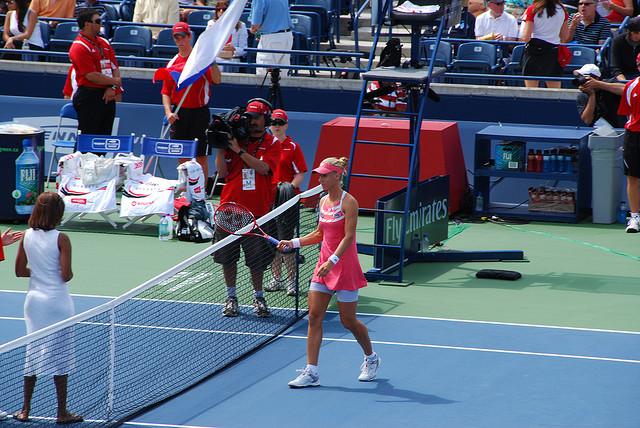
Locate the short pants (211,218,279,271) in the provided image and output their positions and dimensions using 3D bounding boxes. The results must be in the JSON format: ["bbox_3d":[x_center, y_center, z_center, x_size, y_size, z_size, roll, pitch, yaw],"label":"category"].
[{"bbox_3d":[-0.914,0.403,11.315,1.065,0.613,0.054,0,2,-42],"label":"short pants"}]

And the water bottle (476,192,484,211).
[{"bbox_3d":[3.012,-0.243,16.049,0.123,0.349,0.255,5,5,16],"label":"water bottle"}]

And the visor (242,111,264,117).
[{"bbox_3d":[-0.895,-1.341,11.332,0.256,0.066,0.038,3,5,-8],"label":"visor"}]

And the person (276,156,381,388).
[{"bbox_3d":[0.164,0.704,10.009,1.155,2.699,0.606,3,5,-4],"label":"person"}]

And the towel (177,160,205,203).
[{"bbox_3d":[-2.191,-0.568,14.877,0.516,0.741,0.449,-8,9,-28],"label":"towel"}]

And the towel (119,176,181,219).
[{"bbox_3d":[-2.972,-0.277,14.841,1.041,0.711,0.464,5,5,14],"label":"towel"}]

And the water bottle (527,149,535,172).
[{"bbox_3d":[3.894,-0.995,15.723,0.145,0.407,0.151,4,5,0],"label":"water bottle"}]

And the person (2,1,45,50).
[{"bbox_3d":[-6.702,-4.238,19.156,0.935,1.057,0.674,4,5,-2],"label":"person"}]

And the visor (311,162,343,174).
[{"bbox_3d":[0.116,-0.527,9.933,0.248,0.082,0.149,0,-2,-22],"label":"visor"}]

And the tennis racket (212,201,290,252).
[{"bbox_3d":[-0.874,0.194,10.638,1.149,0.453,0.097,34,-10,35],"label":"tennis racket"}]

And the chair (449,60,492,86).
[{"bbox_3d":[3.099,-2.952,17.478,0.669,0.723,0.673,2,2,19],"label":"chair"}]

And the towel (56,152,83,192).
[{"bbox_3d":[-4.527,-0.730,15.352,0.538,0.670,0.428,-2,-3,-10],"label":"towel"}]

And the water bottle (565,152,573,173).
[{"bbox_3d":[4.523,-0.947,15.497,0.113,0.380,0.150,8,7,39],"label":"water bottle"}]

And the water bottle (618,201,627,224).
[{"bbox_3d":[5.526,-0.012,15.595,0.124,0.348,0.168,3,5,-4],"label":"water bottle"}]

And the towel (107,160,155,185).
[{"bbox_3d":[-3.352,-0.750,15.068,0.604,0.221,0.468,3,6,8],"label":"towel"}]

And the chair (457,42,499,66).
[{"bbox_3d":[3.315,-3.246,17.624,0.639,0.616,0.551,3,7,25],"label":"chair"}]

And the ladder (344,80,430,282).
[{"bbox_3d":[0.773,-0.564,13.227,0.983,2.921,1.539,10,16,32],"label":"ladder"}]

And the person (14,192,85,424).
[{"bbox_3d":[-2.873,0.990,9.146,0.699,2.395,0.920,2,6,-23],"label":"person"}]

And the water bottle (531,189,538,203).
[{"bbox_3d":[4.015,-0.350,15.950,0.169,0.301,0.183,2,-1,0],"label":"water bottle"}]

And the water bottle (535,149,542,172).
[{"bbox_3d":[4.038,-0.991,15.753,0.148,0.398,0.185,6,5,20],"label":"water bottle"}]
